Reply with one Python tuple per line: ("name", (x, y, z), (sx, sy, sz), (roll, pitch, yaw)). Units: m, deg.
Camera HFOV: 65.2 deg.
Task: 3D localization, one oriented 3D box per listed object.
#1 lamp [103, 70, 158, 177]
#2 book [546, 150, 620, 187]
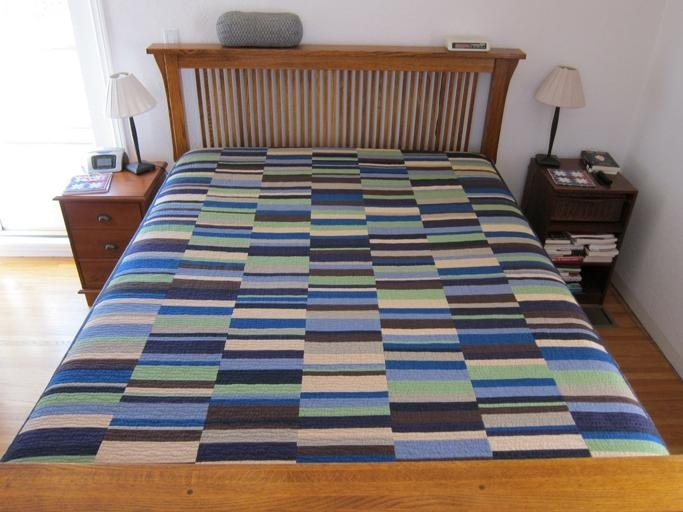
("lamp", (-1.124, -0.719, 2.896), (0.245, 0.539, 0.349), (-6, 33, -15))
("book", (1.350, -0.475, 2.969), (0.374, 0.060, 0.293), (0, 29, 3))
